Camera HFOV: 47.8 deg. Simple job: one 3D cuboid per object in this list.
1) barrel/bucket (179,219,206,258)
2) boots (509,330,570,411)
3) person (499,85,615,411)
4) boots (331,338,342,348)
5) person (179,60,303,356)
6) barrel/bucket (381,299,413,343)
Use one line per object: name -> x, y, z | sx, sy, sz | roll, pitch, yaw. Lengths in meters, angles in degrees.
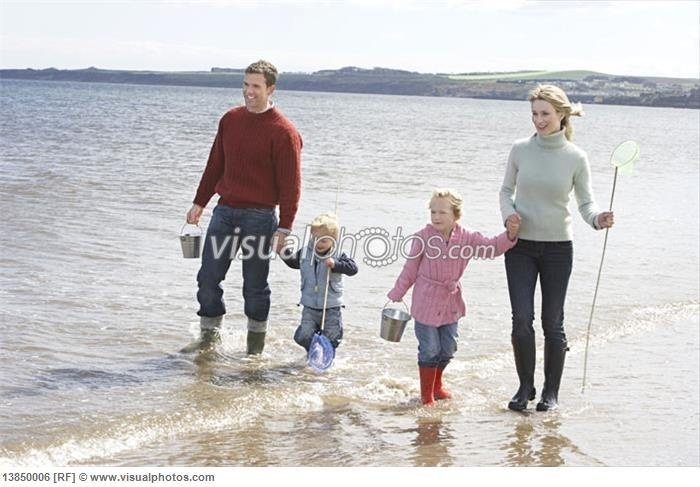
barrel/bucket -> -1.796, -0.041, 9.031 | 0.317, 0.355, 0.236 | 0, 2, 13
boots -> 1.891, 1.272, 8.179 | 0.809, 0.835, 0.766 | 2, 2, 24
person -> 1.948, 0.059, 7.852 | 0.986, 3.246, 0.556 | 6, 10, 8
boots -> -0.143, 1.099, 8.702 | 0.094, 0.090, 0.109 | 2, -30, 8
person -> -1.151, -0.357, 8.662 | 1.196, 3.251, 0.406 | 6, 10, 13
barrel/bucket -> 0.617, 0.819, 8.399 | 0.375, 0.408, 0.286 | 17, -7, -34
